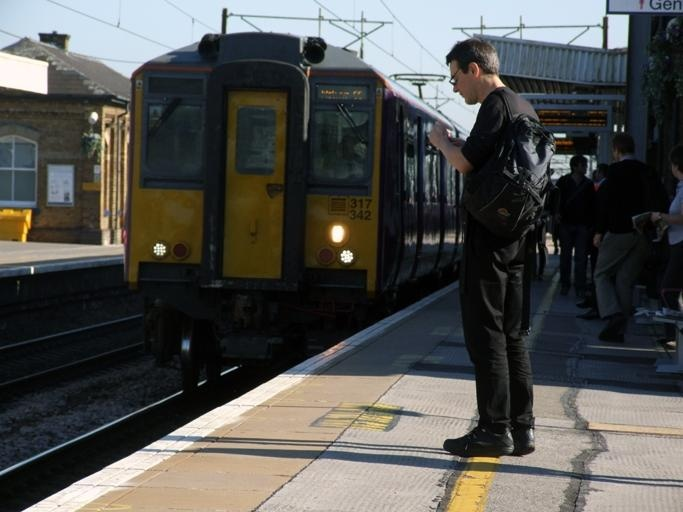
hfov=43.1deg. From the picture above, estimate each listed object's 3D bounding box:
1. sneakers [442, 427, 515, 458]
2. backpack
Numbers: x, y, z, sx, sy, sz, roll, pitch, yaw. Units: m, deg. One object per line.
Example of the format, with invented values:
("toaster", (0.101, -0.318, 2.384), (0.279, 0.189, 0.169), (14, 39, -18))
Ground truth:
("sneakers", (0.853, 1.137, 5.419), (0.375, 0.186, 0.178), (3, -8, 9))
("backpack", (1.012, -0.563, 5.278), (0.516, 0.877, 0.336), (2, 6, 13))
